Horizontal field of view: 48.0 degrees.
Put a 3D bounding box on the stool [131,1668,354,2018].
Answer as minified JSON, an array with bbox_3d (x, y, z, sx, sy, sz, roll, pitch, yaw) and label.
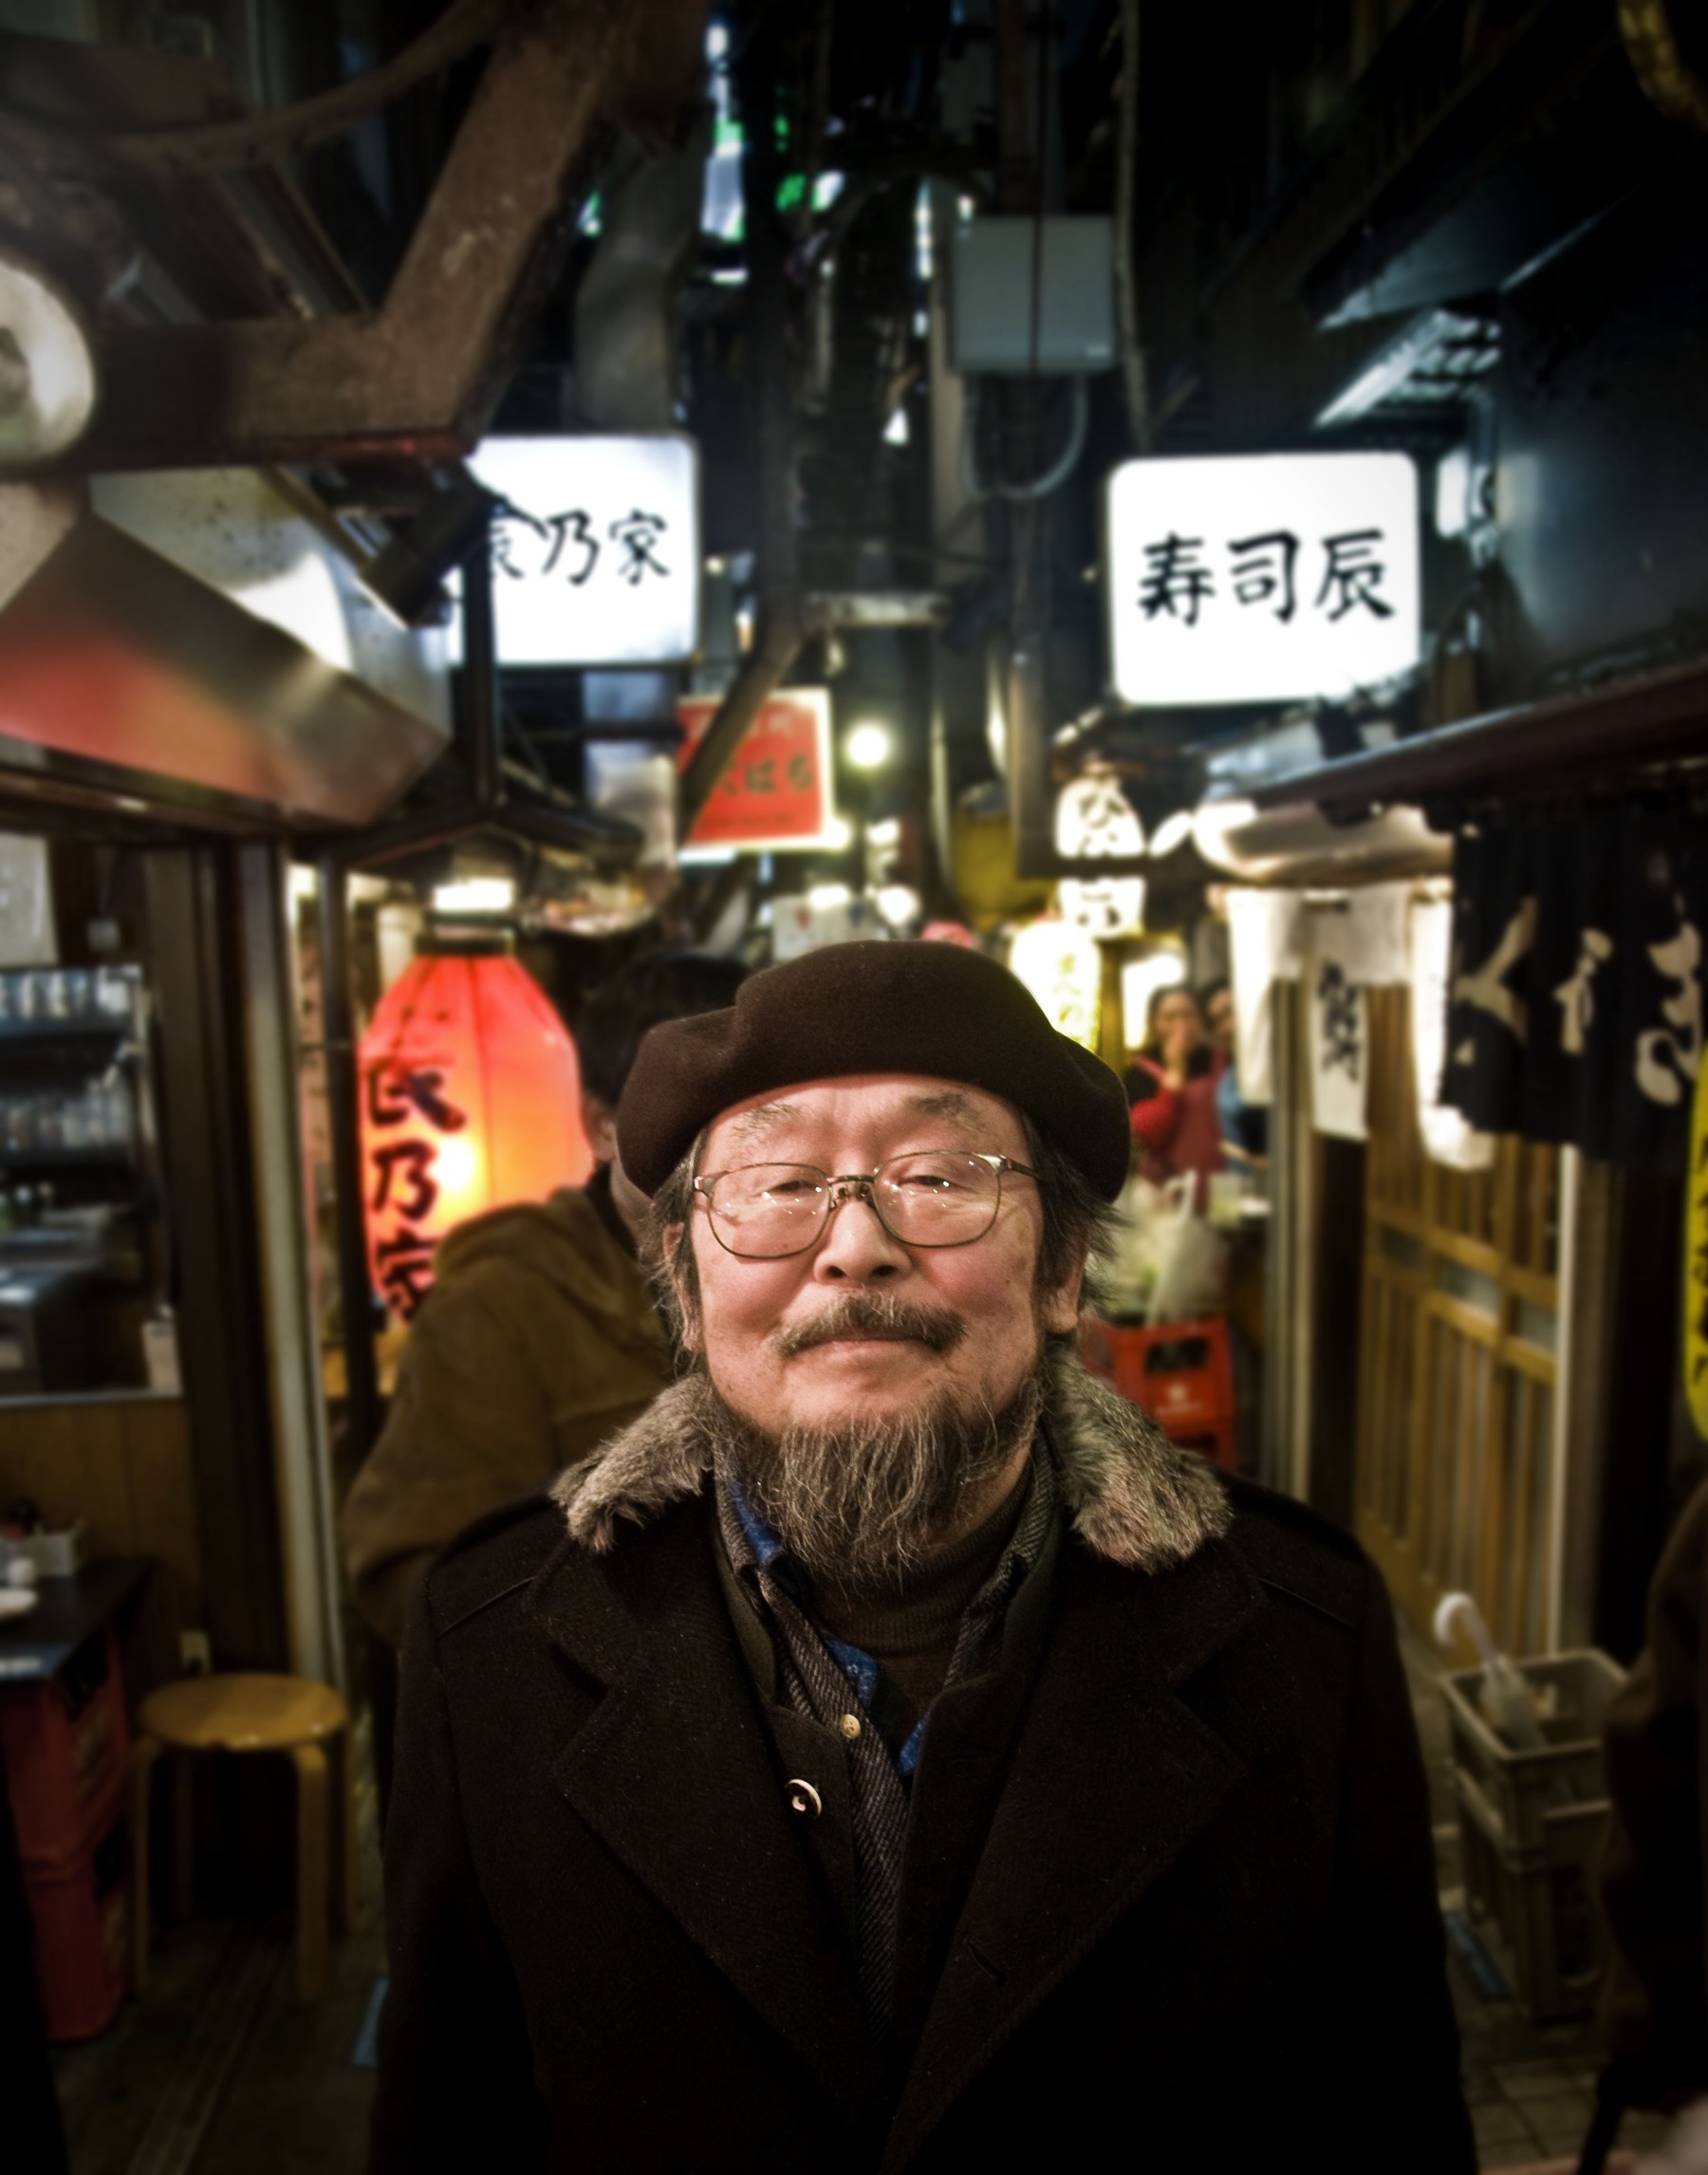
[{"bbox_3d":[-2.187,2.645,7.036,0.827,1.290,0.910,1,-3,-5],"label":"stool"}]
